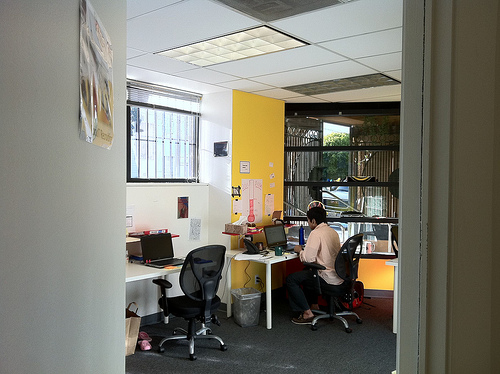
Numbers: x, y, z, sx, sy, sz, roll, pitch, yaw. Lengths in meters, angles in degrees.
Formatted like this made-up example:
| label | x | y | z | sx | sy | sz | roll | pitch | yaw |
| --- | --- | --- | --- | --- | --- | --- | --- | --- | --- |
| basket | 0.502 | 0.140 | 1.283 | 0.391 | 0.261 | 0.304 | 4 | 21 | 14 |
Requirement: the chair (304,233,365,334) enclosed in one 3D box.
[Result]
| label | x | y | z | sx | sy | sz | roll | pitch | yaw |
| --- | --- | --- | --- | --- | --- | --- | --- | --- | --- |
| chair | 0.960 | 1.069 | 4.754 | 0.594 | 1.078 | 0.659 | 2 | 2 | 19 |

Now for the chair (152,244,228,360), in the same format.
| label | x | y | z | sx | sy | sz | roll | pitch | yaw |
| --- | --- | --- | --- | --- | --- | --- | --- | --- | --- |
| chair | -0.588 | 1.089 | 4.052 | 0.664 | 1.092 | 0.681 | 2 | 4 | -18 |

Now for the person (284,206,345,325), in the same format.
| label | x | y | z | sx | sy | sz | roll | pitch | yaw |
| --- | --- | --- | --- | --- | --- | --- | --- | --- | --- |
| person | 0.777 | 0.921 | 4.848 | 0.654 | 1.441 | 0.562 | 6 | 3 | 43 |

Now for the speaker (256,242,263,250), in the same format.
| label | x | y | z | sx | sy | sz | roll | pitch | yaw |
| --- | --- | --- | --- | --- | --- | --- | --- | --- | --- |
| speaker | 0.126 | 0.742 | 5.205 | 0.074 | 0.140 | 0.081 | -2 | 4 | -15 |

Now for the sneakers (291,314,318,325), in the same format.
| label | x | y | z | sx | sy | sz | roll | pitch | yaw |
| --- | --- | --- | --- | --- | --- | --- | --- | --- | --- |
| sneakers | 0.603 | 1.499 | 4.695 | 0.239 | 0.116 | 0.098 | 1 | -6 | 10 |

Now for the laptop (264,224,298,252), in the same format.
| label | x | y | z | sx | sy | sz | roll | pitch | yaw |
| --- | --- | --- | --- | --- | --- | --- | --- | --- | --- |
| laptop | 0.417 | 0.628 | 5.285 | 0.444 | 0.277 | 0.349 | -1 | 1 | -40 |

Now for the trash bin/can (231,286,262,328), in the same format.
| label | x | y | z | sx | sy | sz | roll | pitch | yaw |
| --- | --- | --- | --- | --- | --- | --- | --- | --- | --- |
| trash bin/can | -0.048 | 1.382 | 4.740 | 0.292 | 0.399 | 0.335 | 0 | 0 | -30 |

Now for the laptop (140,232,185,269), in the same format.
| label | x | y | z | sx | sy | sz | roll | pitch | yaw |
| --- | --- | --- | --- | --- | --- | --- | --- | --- | --- |
| laptop | -0.910 | 0.658 | 4.365 | 0.325 | 0.318 | 0.463 | -1 | -1 | 40 |

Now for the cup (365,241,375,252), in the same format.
| label | x | y | z | sx | sy | sz | roll | pitch | yaw |
| --- | --- | --- | --- | --- | --- | --- | --- | --- | --- |
| cup | 1.700 | 0.849 | 5.836 | 0.123 | 0.159 | 0.059 | 0 | 2 | -21 |

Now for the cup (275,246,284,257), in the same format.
| label | x | y | z | sx | sy | sz | roll | pitch | yaw |
| --- | --- | --- | --- | --- | --- | --- | --- | --- | --- |
| cup | 0.340 | 0.745 | 4.836 | 0.112 | 0.122 | 0.072 | 1 | 0 | -1 |

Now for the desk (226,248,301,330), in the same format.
| label | x | y | z | sx | sy | sz | roll | pitch | yaw |
| --- | --- | --- | --- | --- | --- | --- | --- | --- | --- |
| desk | 0.163 | 1.112 | 5.028 | 0.687 | 0.953 | 0.967 | 1 | 1 | 35 |
